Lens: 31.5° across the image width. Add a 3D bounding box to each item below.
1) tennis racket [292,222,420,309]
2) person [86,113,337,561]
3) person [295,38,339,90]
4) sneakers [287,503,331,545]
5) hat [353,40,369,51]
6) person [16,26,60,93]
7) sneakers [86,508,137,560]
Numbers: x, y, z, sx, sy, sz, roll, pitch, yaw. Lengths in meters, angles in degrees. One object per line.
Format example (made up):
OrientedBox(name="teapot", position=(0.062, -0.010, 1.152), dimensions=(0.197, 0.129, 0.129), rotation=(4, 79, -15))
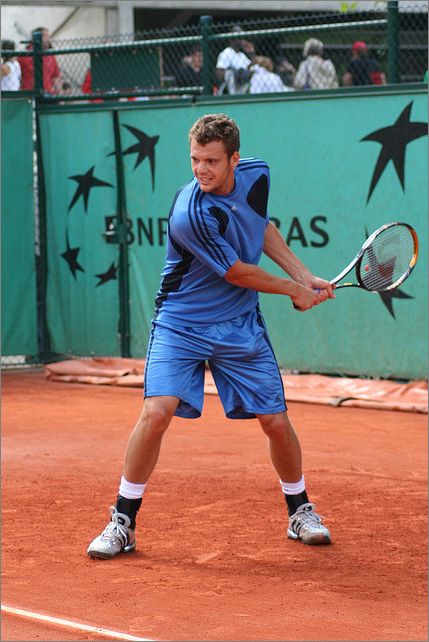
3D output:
OrientedBox(name="tennis racket", position=(0.837, -0.277, 4.808), dimensions=(0.103, 0.393, 1.381), rotation=(7, -16, -30))
OrientedBox(name="person", position=(-0.007, 0.081, 3.100), dimensions=(1.036, 1.815, 0.644), rotation=(-1, 4, -10))
OrientedBox(name="person", position=(1.076, -2.705, 7.954), dimensions=(0.350, 0.588, 0.851), rotation=(0, 3, -7))
OrientedBox(name="sneakers", position=(0.406, 0.888, 3.304), dimensions=(0.105, 0.125, 0.263), rotation=(2, -10, -21))
OrientedBox(name="hat", position=(1.459, -2.779, 7.587), dimensions=(0.105, 0.120, 0.104), rotation=(2, -13, -4))
OrientedBox(name="person", position=(-1.913, -2.840, 8.214), dimensions=(0.438, 0.747, 0.467), rotation=(0, 3, 0))
OrientedBox(name="sneakers", position=(-0.418, 0.895, 3.223), dimensions=(0.116, 0.208, 0.289), rotation=(7, -1, 32))
